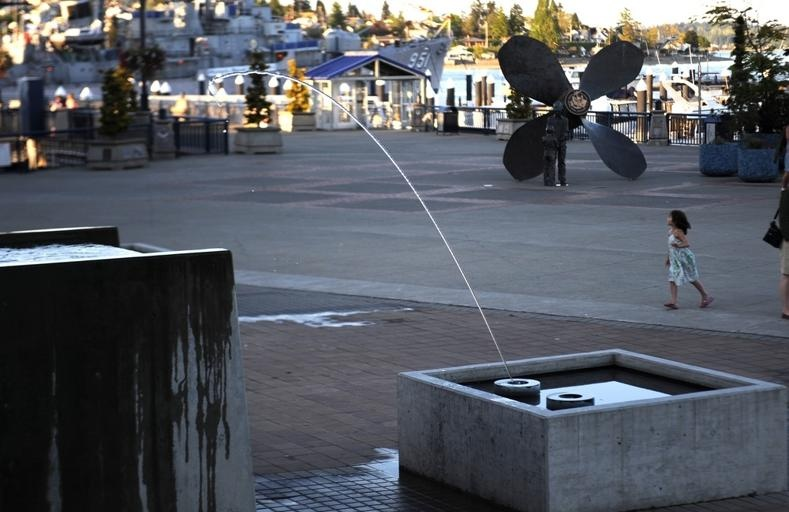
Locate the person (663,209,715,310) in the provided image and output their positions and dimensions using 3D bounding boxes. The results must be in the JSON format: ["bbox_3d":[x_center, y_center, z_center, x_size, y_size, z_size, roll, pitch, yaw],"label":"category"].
[{"bbox_3d":[4.063,0.023,19.178,0.652,1.329,0.837,3,13,11],"label":"person"}]
